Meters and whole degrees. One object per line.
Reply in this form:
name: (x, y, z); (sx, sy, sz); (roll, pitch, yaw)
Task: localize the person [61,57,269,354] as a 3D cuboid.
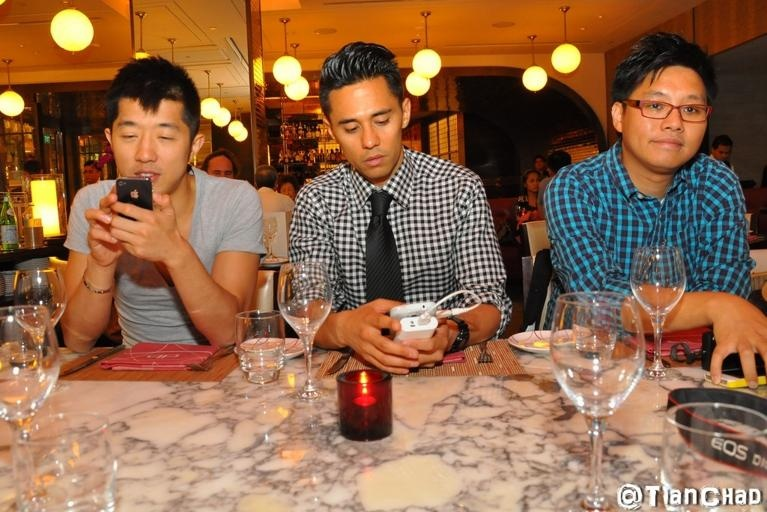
person: (-0.826, -0.181, 1.848); (0.733, 1.071, 0.607); (-6, 13, -13)

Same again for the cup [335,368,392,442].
cup: (-0.034, 0.310, 1.100); (0.128, 0.130, 0.123); (0, 2, 0)

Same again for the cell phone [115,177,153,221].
cell phone: (-0.769, -0.190, 1.577); (0.103, 0.101, 0.063); (-8, 14, -23)

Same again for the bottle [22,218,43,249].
bottle: (-2.339, -0.153, 3.411); (0.114, 0.196, 0.185); (-12, 16, -34)

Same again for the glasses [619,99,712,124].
glasses: (1.038, -0.526, 1.853); (0.302, 0.096, 0.130); (0, 13, 14)

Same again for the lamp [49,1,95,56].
lamp: (-3.002, -2.198, 4.922); (0.328, 0.370, 0.287); (-8, 14, -22)

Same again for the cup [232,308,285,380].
cup: (-0.308, 0.239, 1.349); (0.165, 0.212, 0.154); (-1, -9, 0)

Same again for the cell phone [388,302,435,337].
cell phone: (0.065, 0.171, 1.374); (0.126, 0.083, 0.118); (-2, -35, -5)

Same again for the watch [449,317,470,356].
watch: (0.231, 0.236, 1.530); (0.063, 0.088, 0.089); (6, -29, -20)

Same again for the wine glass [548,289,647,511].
wine glass: (0.339, 0.236, 0.826); (0.136, 0.333, 0.104); (3, 14, 24)

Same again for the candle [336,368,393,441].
candle: (-0.035, 0.308, 1.102); (0.129, 0.131, 0.125); (1, 2, 10)
